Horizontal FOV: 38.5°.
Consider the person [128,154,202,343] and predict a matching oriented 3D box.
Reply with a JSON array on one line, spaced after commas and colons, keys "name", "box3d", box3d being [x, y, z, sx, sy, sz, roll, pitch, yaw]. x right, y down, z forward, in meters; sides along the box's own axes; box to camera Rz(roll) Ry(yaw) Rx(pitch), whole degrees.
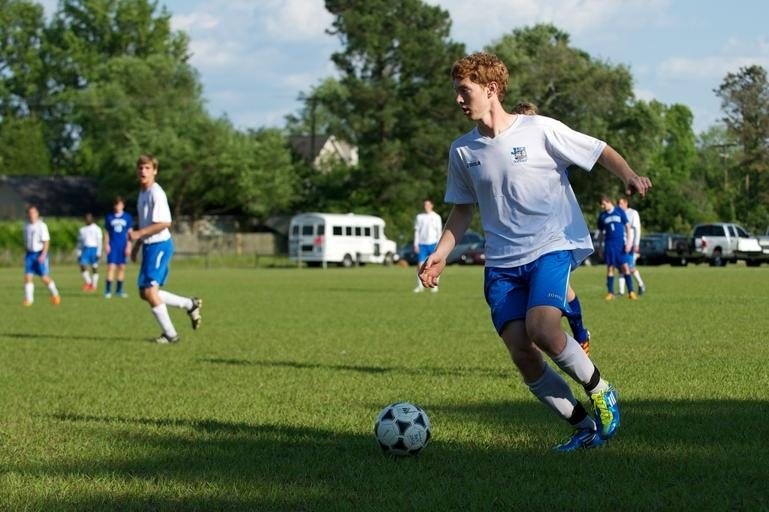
[{"name": "person", "box3d": [-3.178, -0.041, 15.234, 0.991, 2.538, 1.332, 0, -4, 19]}]

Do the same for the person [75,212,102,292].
[{"name": "person", "box3d": [-6.420, -0.058, 23.792, 0.587, 1.654, 0.500, -1, -1, -33]}]

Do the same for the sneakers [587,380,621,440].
[{"name": "sneakers", "box3d": [2.141, 1.473, 10.650, 0.233, 0.577, 0.278, -19, -18, 39]}]

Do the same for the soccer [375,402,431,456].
[{"name": "soccer", "box3d": [0.178, 1.693, 10.755, 0.574, 0.500, 0.513, 5, 11, -16]}]

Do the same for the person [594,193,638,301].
[{"name": "person", "box3d": [4.235, -0.153, 19.990, 0.808, 1.945, 0.866, 0, 0, 7]}]

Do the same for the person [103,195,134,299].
[{"name": "person", "box3d": [-5.562, -0.179, 22.921, 0.814, 2.346, 0.941, 0, 0, -1]}]

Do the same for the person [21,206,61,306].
[{"name": "person", "box3d": [-6.515, -0.012, 20.355, 0.793, 1.886, 0.689, 0, -3, 9]}]
